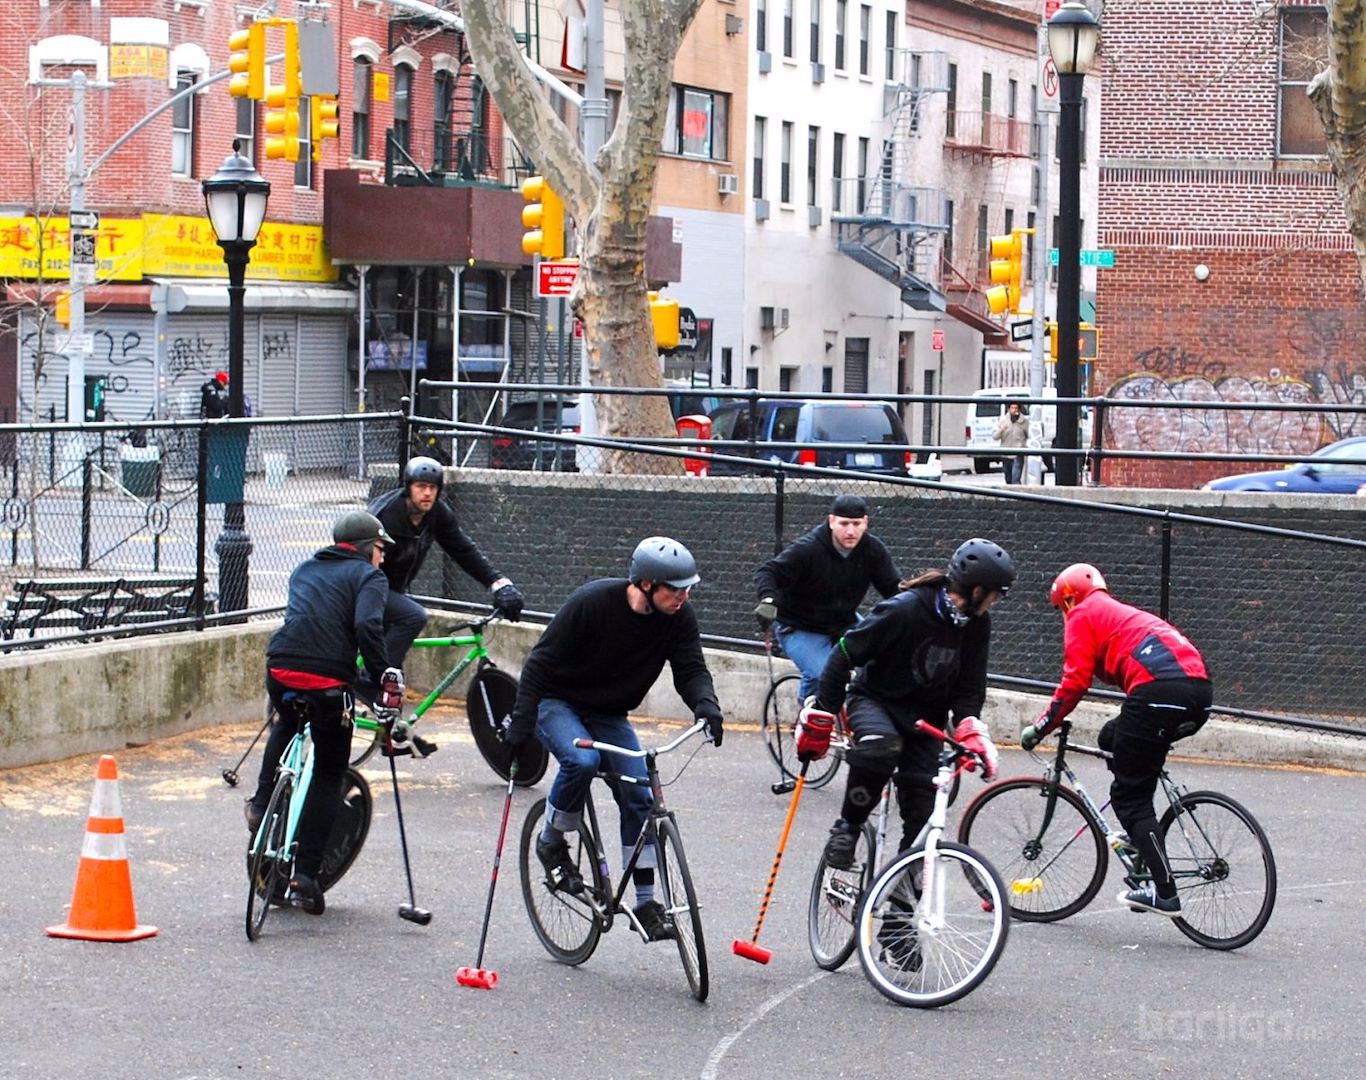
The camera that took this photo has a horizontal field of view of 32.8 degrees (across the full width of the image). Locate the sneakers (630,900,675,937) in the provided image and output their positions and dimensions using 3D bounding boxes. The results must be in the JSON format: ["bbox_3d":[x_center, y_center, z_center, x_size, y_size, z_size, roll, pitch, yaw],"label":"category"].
[{"bbox_3d":[-0.126,2.028,12.269,0.114,0.203,0.353,-2,4,-39],"label":"sneakers"}]

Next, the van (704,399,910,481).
[{"bbox_3d":[1.870,-1.301,30.367,1.376,1.330,2.599,-1,9,-21],"label":"van"}]

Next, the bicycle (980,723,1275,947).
[{"bbox_3d":[2.471,1.771,13.587,1.893,1.223,0.914,0,-2,26],"label":"bicycle"}]

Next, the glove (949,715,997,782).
[{"bbox_3d":[1.585,1.114,12.463,0.210,0.344,0.146,-30,-25,10],"label":"glove"}]

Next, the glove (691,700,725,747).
[{"bbox_3d":[0.141,0.981,12.298,0.072,0.219,0.146,-10,7,-16],"label":"glove"}]

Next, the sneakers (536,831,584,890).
[{"bbox_3d":[-0.668,1.752,12.568,0.151,0.182,0.402,-3,11,-26],"label":"sneakers"}]

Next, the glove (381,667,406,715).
[{"bbox_3d":[-1.653,0.856,13.150,0.085,0.240,0.166,-4,-15,45],"label":"glove"}]

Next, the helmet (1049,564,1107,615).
[{"bbox_3d":[2.314,0.290,13.762,0.342,0.364,0.288,3,-2,21],"label":"helmet"}]

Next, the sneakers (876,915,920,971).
[{"bbox_3d":[1.136,2.135,12.256,0.260,0.252,0.209,2,1,-44],"label":"sneakers"}]

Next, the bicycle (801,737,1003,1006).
[{"bbox_3d":[1.214,2.021,12.603,0.713,1.160,1.615,13,-11,-21],"label":"bicycle"}]

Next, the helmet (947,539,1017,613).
[{"bbox_3d":[1.597,0.183,12.523,0.294,0.403,0.396,23,14,35],"label":"helmet"}]

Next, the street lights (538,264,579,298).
[{"bbox_3d":[-1.524,-3.246,28.933,0.593,0.564,0.085,5,14,37],"label":"street lights"}]

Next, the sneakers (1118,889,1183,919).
[{"bbox_3d":[2.713,2.094,13.375,0.385,0.181,0.145,10,-1,25],"label":"sneakers"}]

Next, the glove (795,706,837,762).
[{"bbox_3d":[0.721,1.055,12.732,0.190,0.288,0.293,5,7,-3],"label":"glove"}]

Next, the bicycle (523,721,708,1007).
[{"bbox_3d":[-0.313,1.675,12.460,0.584,1.423,1.528,-2,4,-34],"label":"bicycle"}]

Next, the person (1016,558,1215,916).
[{"bbox_3d":[2.564,1.181,13.497,0.923,2.020,0.496,2,4,26],"label":"person"}]

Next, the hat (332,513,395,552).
[{"bbox_3d":[-1.821,-0.018,13.311,0.282,0.170,0.214,-4,8,-15],"label":"hat"}]

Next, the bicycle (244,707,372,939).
[{"bbox_3d":[-2.152,1.643,13.273,0.584,0.801,1.258,3,10,12],"label":"bicycle"}]

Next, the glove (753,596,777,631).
[{"bbox_3d":[0.598,0.511,15.899,0.155,0.174,0.194,10,-20,-17],"label":"glove"}]

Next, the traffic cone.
[{"bbox_3d":[-3.234,1.676,12.962,0.593,1.032,0.879,0,4,-15],"label":"traffic cone"}]

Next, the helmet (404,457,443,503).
[{"bbox_3d":[-1.801,-0.420,16.375,0.230,0.309,0.323,2,-9,-17],"label":"helmet"}]

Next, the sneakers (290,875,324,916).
[{"bbox_3d":[-2.152,2.022,13.182,0.071,0.229,0.209,-26,31,-37],"label":"sneakers"}]

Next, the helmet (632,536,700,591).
[{"bbox_3d":[-0.084,0.126,12.137,0.311,0.171,0.233,3,5,29],"label":"helmet"}]

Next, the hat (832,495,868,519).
[{"bbox_3d":[1.166,-0.222,16.127,0.235,0.138,0.350,1,0,1],"label":"hat"}]
